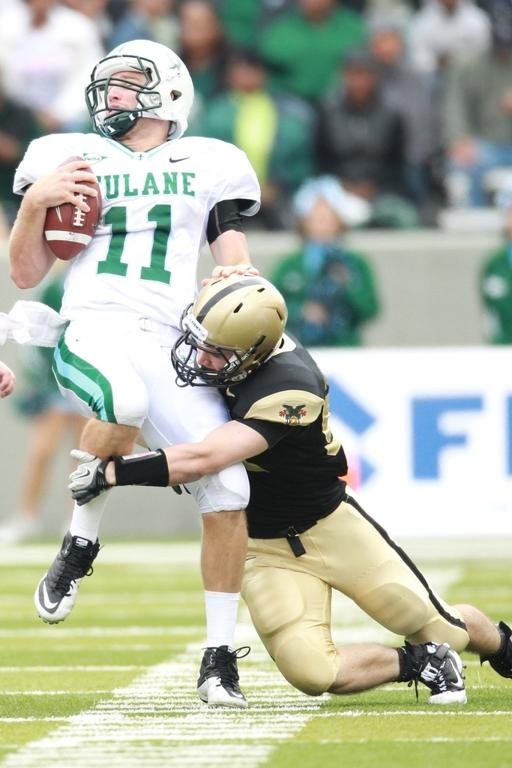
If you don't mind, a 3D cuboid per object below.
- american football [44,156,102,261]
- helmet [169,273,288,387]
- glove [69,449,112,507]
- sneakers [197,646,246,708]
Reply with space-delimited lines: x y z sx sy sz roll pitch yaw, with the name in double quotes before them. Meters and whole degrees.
"american football" -0.405 -0.392 2.004 0.103 0.066 0.169 5 88 -11
"helmet" -0.050 -0.122 1.974 0.270 0.195 0.198 -24 68 -22
"glove" -0.335 0.193 1.905 0.115 0.054 0.103 -6 80 20
"sneakers" -0.071 0.618 1.867 0.105 0.109 0.136 -6 53 4
